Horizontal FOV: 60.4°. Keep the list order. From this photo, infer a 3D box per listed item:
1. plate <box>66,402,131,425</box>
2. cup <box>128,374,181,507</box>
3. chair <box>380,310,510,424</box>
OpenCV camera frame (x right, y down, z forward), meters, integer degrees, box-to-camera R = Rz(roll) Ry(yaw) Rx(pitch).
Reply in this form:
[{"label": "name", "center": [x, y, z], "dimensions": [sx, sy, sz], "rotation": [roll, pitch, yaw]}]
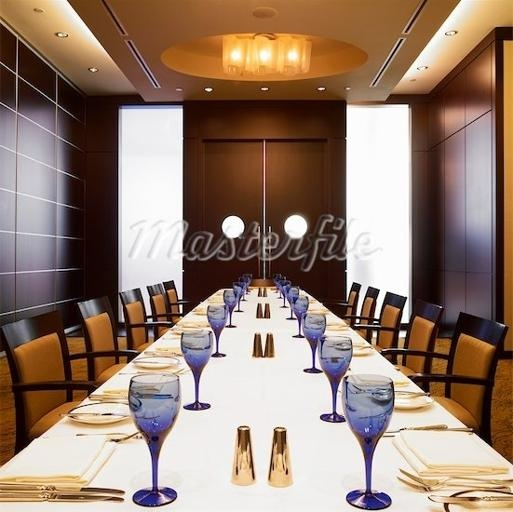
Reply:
[{"label": "plate", "center": [-0.393, 0.401, 1.117], "dimensions": [0.147, 0.023, 0.150], "rotation": [1, 1, 0]}, {"label": "cup", "center": [-0.178, 0.302, 0.765], "dimensions": [0.079, 0.215, 0.162], "rotation": [-1, 5, -18]}, {"label": "chair", "center": [0.810, 0.480, 2.179], "dimensions": [0.464, 0.716, 0.496], "rotation": [2, 0, 0]}]
